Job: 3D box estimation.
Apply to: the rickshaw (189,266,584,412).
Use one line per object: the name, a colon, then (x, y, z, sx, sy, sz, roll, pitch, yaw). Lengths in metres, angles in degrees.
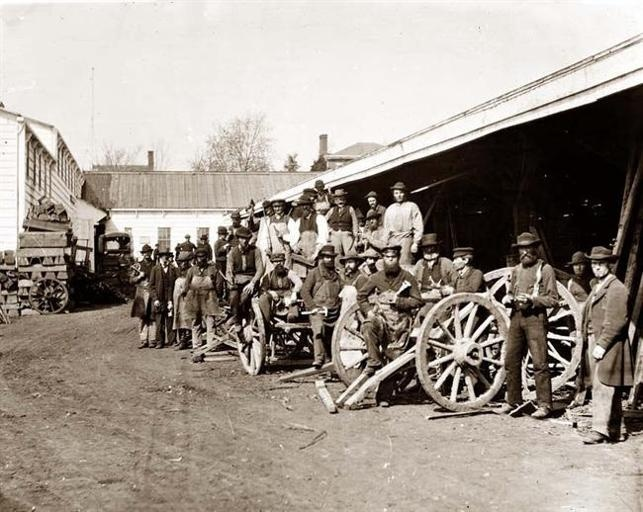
rickshaw: (1.985, 1.356, 9.520, 3.133, 1.448, 2.160, 8, -6, -21)

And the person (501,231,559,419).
person: (2.800, 0.862, 8.932, 0.804, 2.362, 0.831, 0, 0, -44)

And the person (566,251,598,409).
person: (3.612, 1.129, 9.292, 0.406, 1.605, 0.500, 2, 9, 13)
